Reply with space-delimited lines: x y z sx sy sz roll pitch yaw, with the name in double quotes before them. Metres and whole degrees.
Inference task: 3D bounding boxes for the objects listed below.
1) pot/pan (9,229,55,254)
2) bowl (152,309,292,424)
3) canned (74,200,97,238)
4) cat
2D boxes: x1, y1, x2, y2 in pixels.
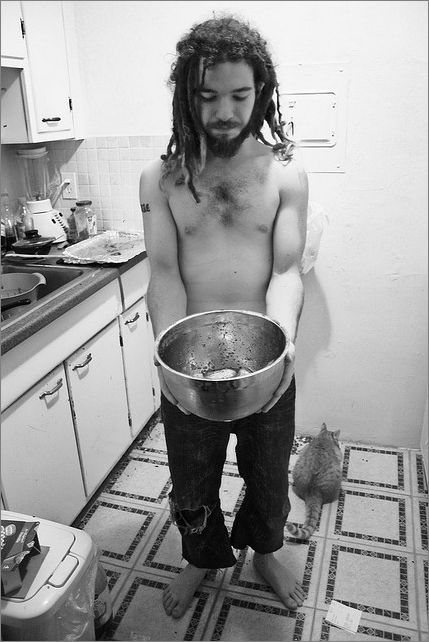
"pot/pan" -0.717 -0.312 2.031 0.162 0.079 0.199 -9 23 -17
"bowl" 0.018 0.100 0.979 0.226 0.136 0.225 -5 31 3
"canned" -0.558 -0.442 2.220 0.086 0.156 0.179 -6 22 -9
"cat" 0.359 0.552 1.789 0.132 0.175 0.408 3 46 20
